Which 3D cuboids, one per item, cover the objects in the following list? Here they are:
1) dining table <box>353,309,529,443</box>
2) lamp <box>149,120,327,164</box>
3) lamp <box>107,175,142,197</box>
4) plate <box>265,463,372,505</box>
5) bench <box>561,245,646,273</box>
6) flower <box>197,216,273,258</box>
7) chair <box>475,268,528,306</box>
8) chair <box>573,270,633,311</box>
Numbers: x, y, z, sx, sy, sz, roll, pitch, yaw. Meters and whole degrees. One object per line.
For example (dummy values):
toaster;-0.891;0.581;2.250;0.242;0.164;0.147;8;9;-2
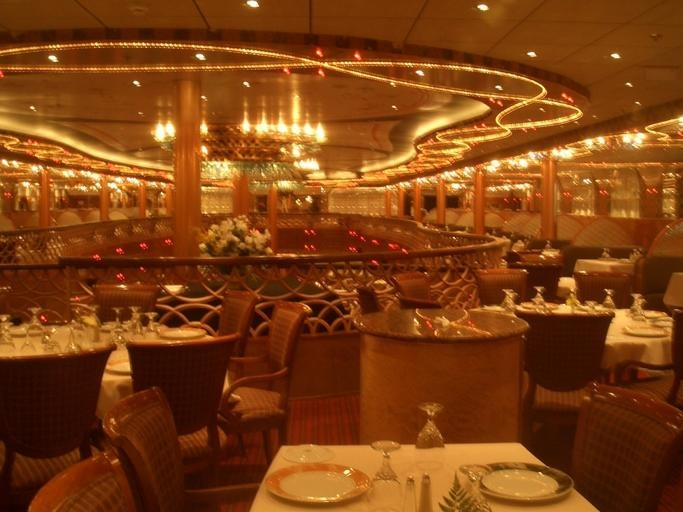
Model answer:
dining table;0.509;0.599;2.637;0.847;0.530;0.525;-2;7;0
lamp;-1.649;-2.297;10.850;2.285;0.748;0.878;-4;7;-16
lamp;-14.810;-4.744;36.276;2.687;0.707;2.632;0;0;-4
plate;-0.085;0.786;1.855;0.349;0.032;0.249;-3;7;-12
bench;5.479;-0.046;11.568;1.140;0.418;1.113;-1;5;-9
flower;-1.424;-0.220;7.477;0.772;0.600;0.762;3;5;14
chair;1.912;0.337;6.468;0.492;0.560;0.475;1;0;9
chair;3.352;0.373;6.972;0.656;0.808;0.654;2;7;16
